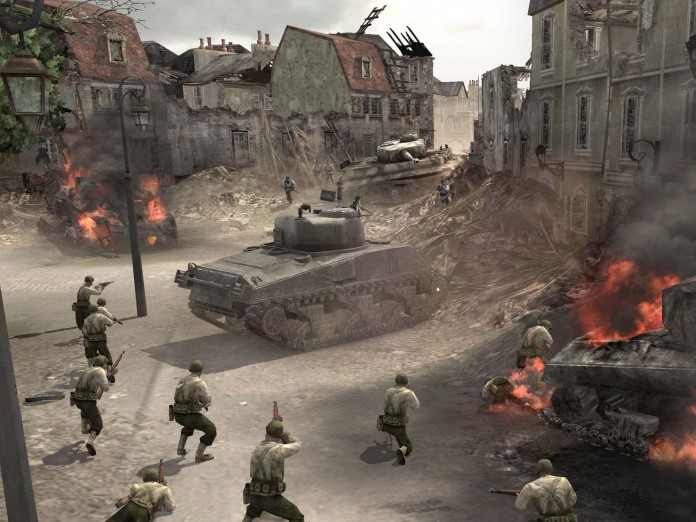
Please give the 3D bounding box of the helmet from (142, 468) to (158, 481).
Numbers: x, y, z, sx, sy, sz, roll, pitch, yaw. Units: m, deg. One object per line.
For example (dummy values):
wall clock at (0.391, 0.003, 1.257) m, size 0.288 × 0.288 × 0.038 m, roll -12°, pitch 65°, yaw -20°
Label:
helmet at (-2.606, 2.801, 7.843) m, size 0.175 × 0.170 × 0.230 m, roll -6°, pitch 12°, yaw -17°

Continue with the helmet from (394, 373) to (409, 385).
helmet at (0.922, 2.051, 10.408) m, size 0.191 × 0.228 × 0.237 m, roll 6°, pitch 17°, yaw 23°

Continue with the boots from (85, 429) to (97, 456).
boots at (-4.657, 3.276, 10.770) m, size 0.177 × 0.413 × 0.382 m, roll 0°, pitch 11°, yaw -2°

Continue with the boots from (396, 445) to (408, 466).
boots at (0.958, 3.378, 10.439) m, size 0.148 × 0.282 × 0.321 m, roll 3°, pitch 12°, yaw 24°

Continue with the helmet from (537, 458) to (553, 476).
helmet at (2.587, 2.693, 7.831) m, size 0.157 × 0.248 × 0.218 m, roll 0°, pitch 12°, yaw 15°

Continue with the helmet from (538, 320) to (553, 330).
helmet at (4.358, 1.399, 13.197) m, size 0.243 × 0.252 × 0.435 m, roll 0°, pitch 11°, yaw 14°
